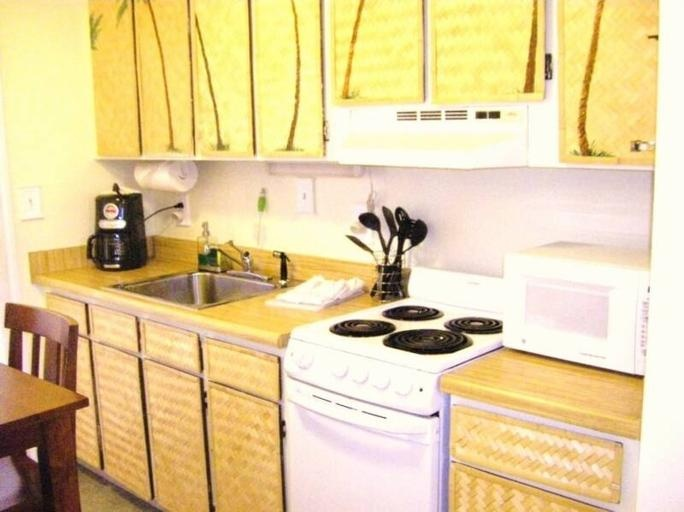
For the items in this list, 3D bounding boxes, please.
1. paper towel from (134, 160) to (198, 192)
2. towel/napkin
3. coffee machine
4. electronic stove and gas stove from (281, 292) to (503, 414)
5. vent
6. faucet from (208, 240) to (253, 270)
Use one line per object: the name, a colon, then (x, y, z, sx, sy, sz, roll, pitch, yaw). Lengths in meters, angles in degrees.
paper towel: (-0.967, -0.464, 3.139, 0.310, 0.182, 0.258, 9, 14, 29)
towel/napkin: (-0.120, 0.100, 2.499, 0.479, 0.121, 0.452, -8, 15, -43)
coffee machine: (-1.279, -0.142, 3.163, 0.243, 0.471, 0.195, 11, 15, 30)
electronic stove and gas stove: (0.166, 0.249, 2.312, 1.051, 0.214, 1.078, 5, 10, 37)
vent: (0.264, -0.420, 1.888, 0.847, 0.262, 0.252, 8, 20, 36)
faucet: (-0.589, -0.003, 2.953, 0.178, 0.157, 0.304, -7, 10, -30)
